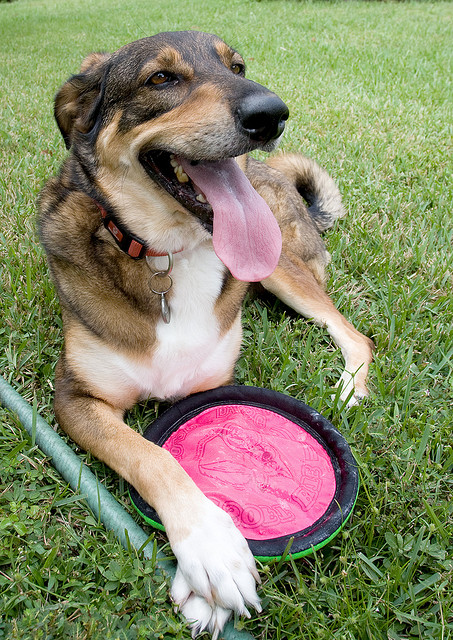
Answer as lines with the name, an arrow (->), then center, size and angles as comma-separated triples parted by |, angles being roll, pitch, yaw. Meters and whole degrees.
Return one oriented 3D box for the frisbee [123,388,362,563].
frisbee -> 0.196, 0.550, 2.103 | 0.621, 0.619, 0.130 | 46, 33, 18
